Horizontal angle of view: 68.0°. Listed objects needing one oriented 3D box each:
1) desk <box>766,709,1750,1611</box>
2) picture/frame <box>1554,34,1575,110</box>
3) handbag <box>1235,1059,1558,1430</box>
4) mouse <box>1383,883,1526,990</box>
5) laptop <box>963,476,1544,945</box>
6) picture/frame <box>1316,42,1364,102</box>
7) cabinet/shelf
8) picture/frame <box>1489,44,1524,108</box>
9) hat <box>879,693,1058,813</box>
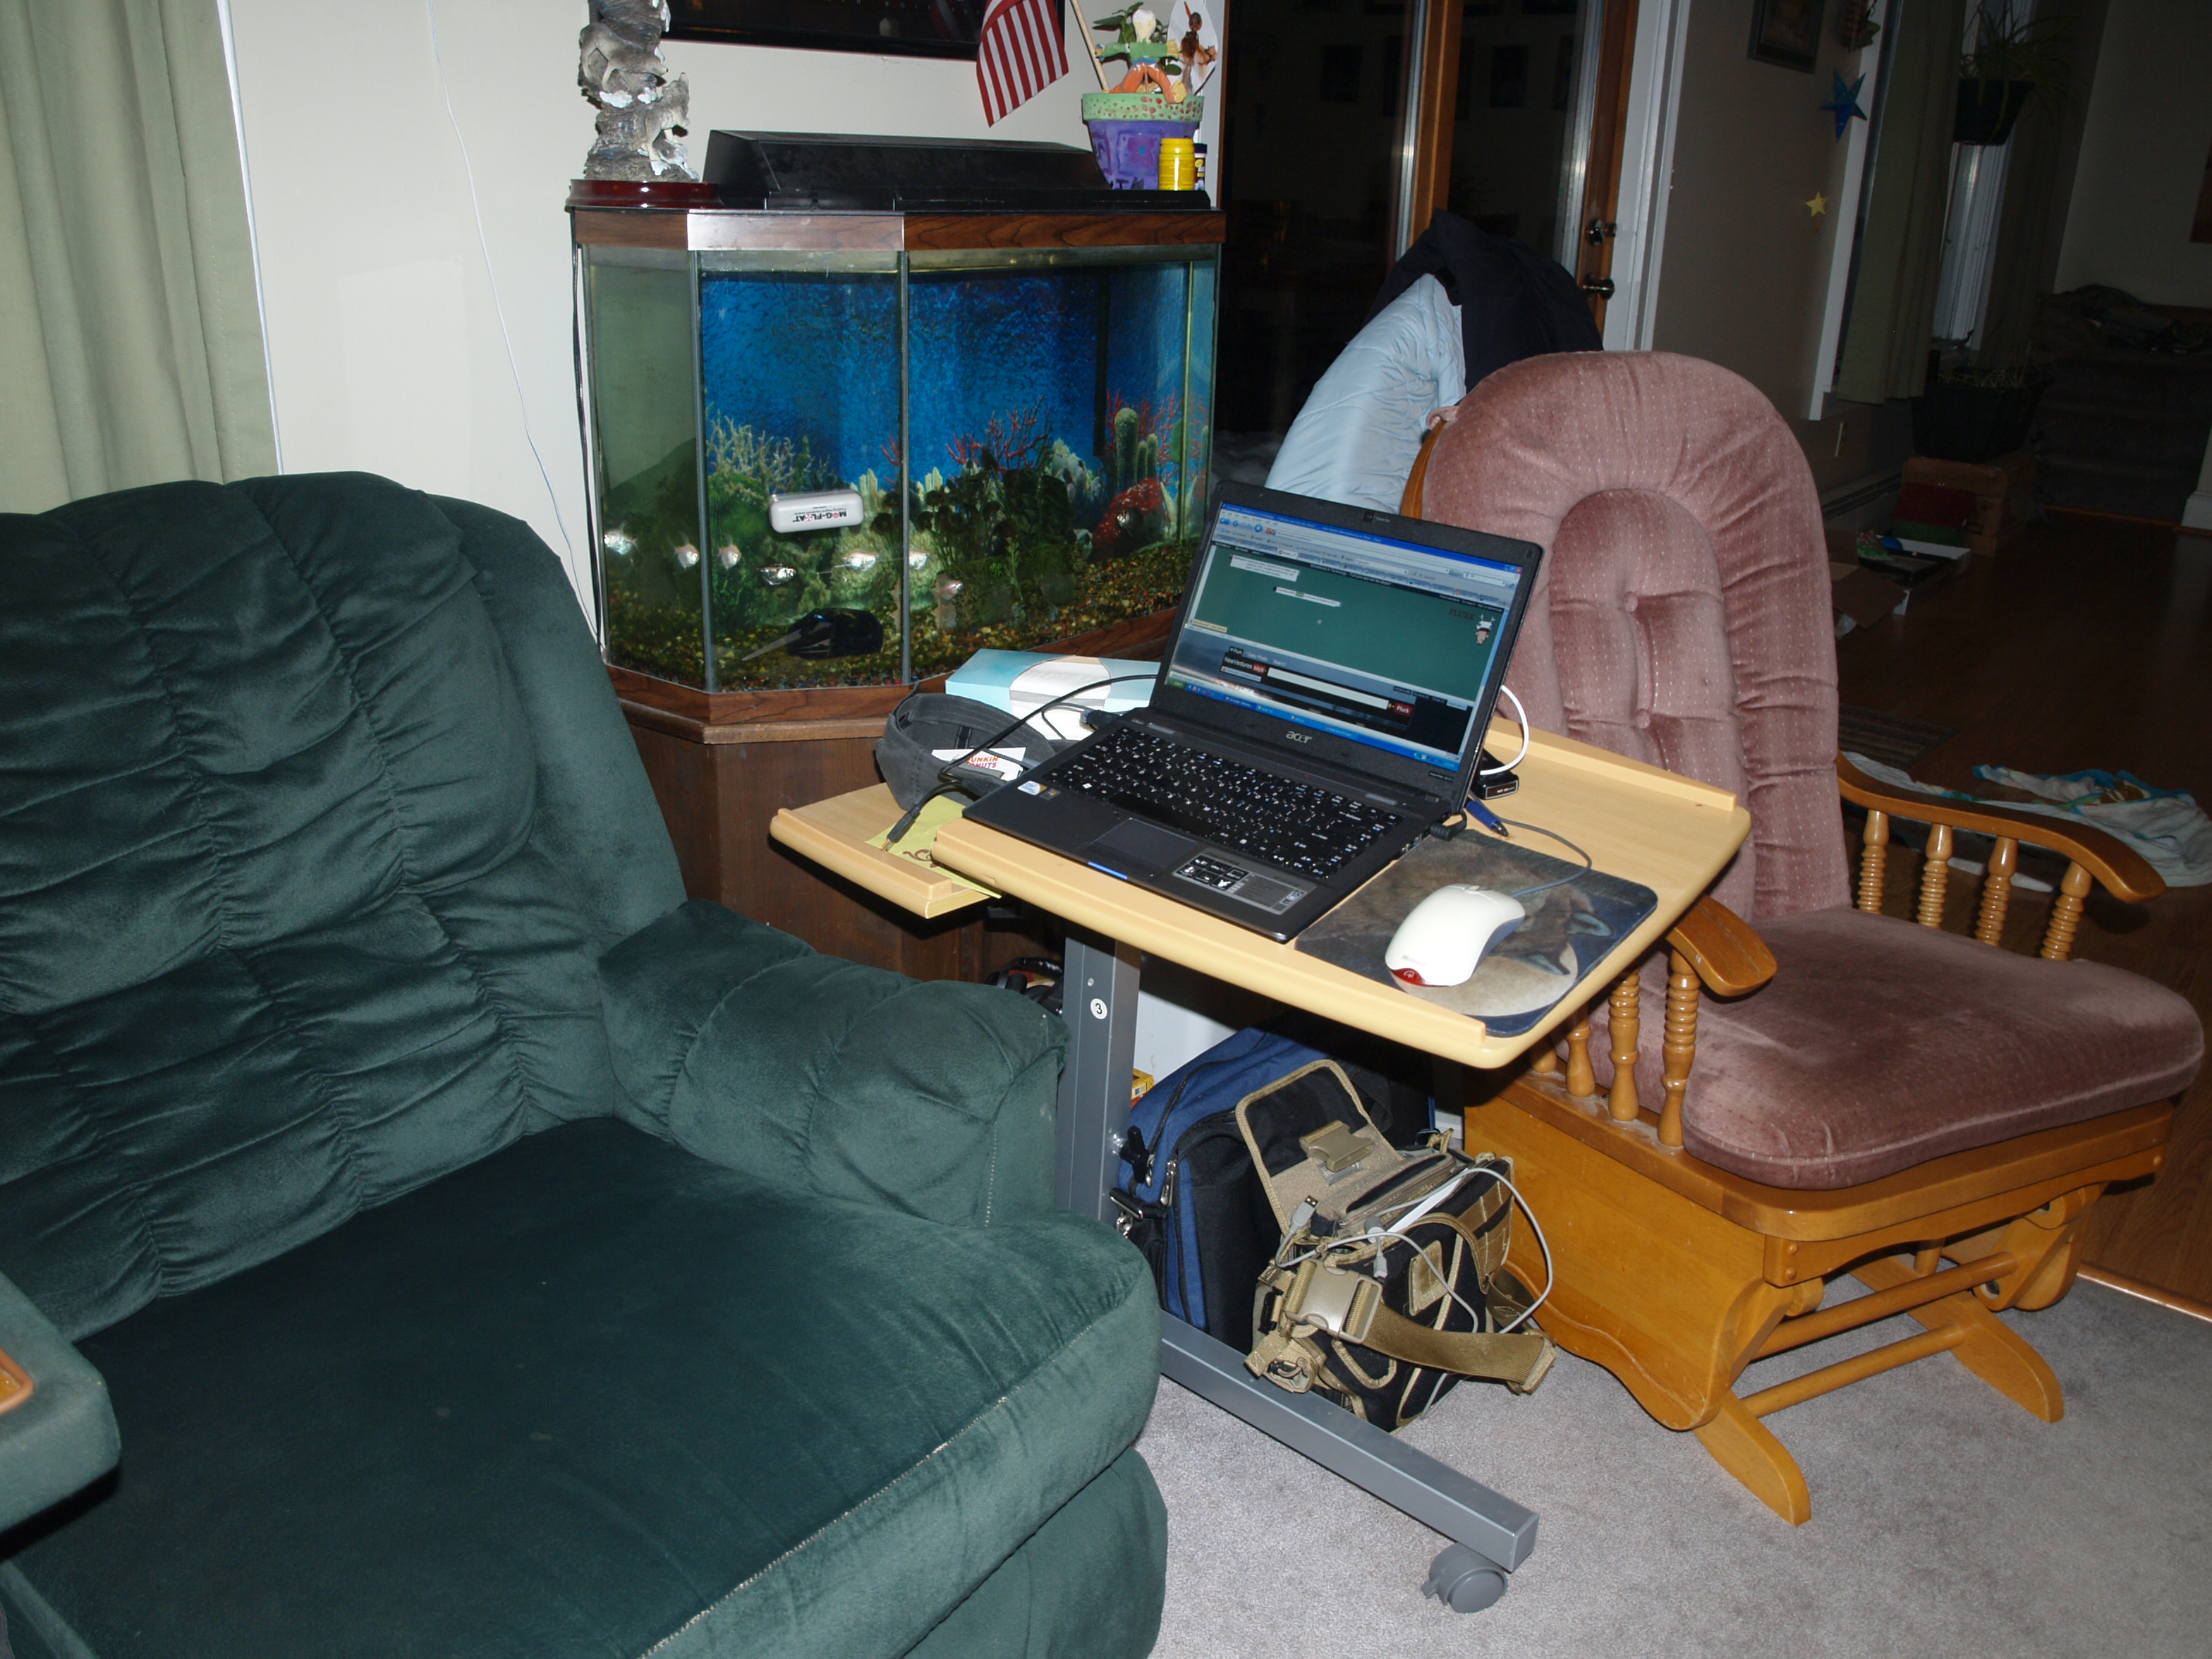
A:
[{"bbox_3d":[0.261,0.139,2.238,1.072,1.033,1.185,23,36,36],"label":"desk"},{"bbox_3d":[1.298,-2.159,4.660,0.015,0.222,0.121,22,38,35],"label":"picture/frame"},{"bbox_3d":[0.339,0.558,2.222,0.445,0.329,0.459,15,30,40],"label":"handbag"},{"bbox_3d":[0.349,0.109,1.674,0.087,0.063,0.146,23,34,38],"label":"mouse"},{"bbox_3d":[0.173,-0.096,1.901,0.557,0.365,0.587,27,42,34],"label":"laptop"},{"bbox_3d":[0.561,-1.852,4.006,0.013,0.124,0.140,19,33,35],"label":"picture/frame"},{"bbox_3d":[-0.345,-0.360,2.319,0.966,1.082,0.376,-23,34,-37],"label":"cabinet/shelf"},{"bbox_3d":[1.083,-2.051,4.460,0.011,0.158,0.155,19,31,37],"label":"picture/frame"},{"bbox_3d":[-0.187,-0.100,2.080,0.186,0.082,0.140,13,39,-2],"label":"hat"}]
